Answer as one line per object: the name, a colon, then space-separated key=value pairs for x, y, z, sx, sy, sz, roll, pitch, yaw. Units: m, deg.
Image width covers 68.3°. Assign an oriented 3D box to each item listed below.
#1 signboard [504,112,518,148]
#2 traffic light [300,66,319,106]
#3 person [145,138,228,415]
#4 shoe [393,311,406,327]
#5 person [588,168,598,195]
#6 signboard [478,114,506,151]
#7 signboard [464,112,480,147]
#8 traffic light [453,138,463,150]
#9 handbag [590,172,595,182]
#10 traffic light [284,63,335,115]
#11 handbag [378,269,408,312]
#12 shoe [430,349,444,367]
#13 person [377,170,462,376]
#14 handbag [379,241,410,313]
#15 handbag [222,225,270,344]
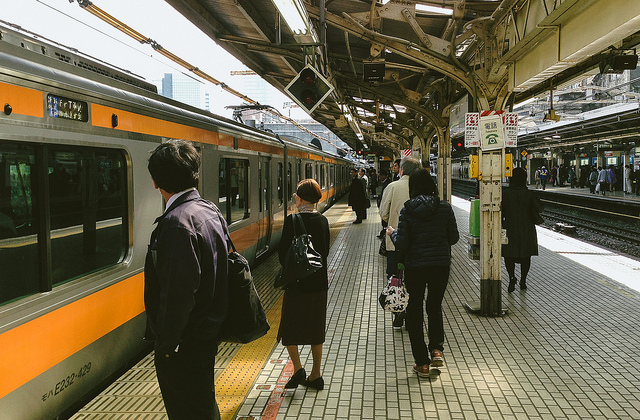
signboard: x=2.896 y=-1.225 z=7.174 sx=0.166 sy=0.524 sz=0.303 roll=6 pitch=10 yaw=41
traffic light: x=-0.203 y=-2.265 z=8.832 sx=0.347 sy=0.777 sz=0.258 roll=-1 pitch=-7 yaw=9
person: x=-1.007 y=0.553 z=3.678 sx=0.639 sy=2.178 sz=0.461 roll=-4 pitch=8 yaw=-22
shoe: x=1.146 y=1.591 z=6.869 sx=0.156 sy=0.307 sz=0.288 roll=1 pitch=9 yaw=9
person: x=18.137 y=-1.865 z=31.424 sx=0.401 sy=1.515 sz=1.459 roll=4 pitch=9 yaw=29
signboard: x=2.637 y=-1.234 z=7.247 sx=0.362 sy=0.518 sz=0.321 roll=-8 pitch=28 yaw=20
signboard: x=2.367 y=-1.257 z=7.349 sx=0.197 sy=0.536 sz=0.232 roll=1 pitch=8 yaw=8
traffic light: x=4.966 y=-2.386 z=17.030 sx=0.208 sy=0.512 sz=0.509 roll=5 pitch=21 yaw=20
handbag: x=17.963 y=-2.201 z=31.239 sx=0.203 sy=0.763 sz=0.532 roll=6 pitch=8 yaw=8
traffic light: x=-0.259 y=-2.221 z=8.867 sx=0.163 sy=1.137 sz=1.115 roll=-14 pitch=40 yaw=-28
handbag: x=0.944 y=0.983 z=5.763 sx=0.331 sy=0.330 sz=0.643 roll=2 pitch=15 yaw=4
shoe: x=1.389 y=1.779 z=5.641 sx=0.145 sy=0.182 sz=0.236 roll=1 pitch=9 yaw=13
person: x=1.188 y=0.750 z=5.607 sx=0.881 sy=2.387 sz=0.482 roll=0 pitch=8 yaw=5
handbag: x=0.880 y=0.780 z=5.606 sx=0.344 sy=0.849 sz=0.383 roll=0 pitch=8 yaw=4
handbag: x=-0.604 y=0.716 z=3.822 sx=0.368 sy=0.738 sz=0.179 roll=-2 pitch=8 yaw=-10
